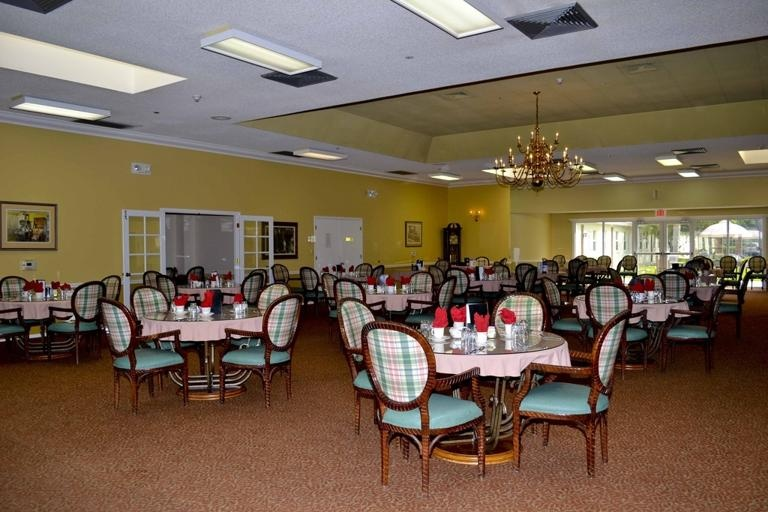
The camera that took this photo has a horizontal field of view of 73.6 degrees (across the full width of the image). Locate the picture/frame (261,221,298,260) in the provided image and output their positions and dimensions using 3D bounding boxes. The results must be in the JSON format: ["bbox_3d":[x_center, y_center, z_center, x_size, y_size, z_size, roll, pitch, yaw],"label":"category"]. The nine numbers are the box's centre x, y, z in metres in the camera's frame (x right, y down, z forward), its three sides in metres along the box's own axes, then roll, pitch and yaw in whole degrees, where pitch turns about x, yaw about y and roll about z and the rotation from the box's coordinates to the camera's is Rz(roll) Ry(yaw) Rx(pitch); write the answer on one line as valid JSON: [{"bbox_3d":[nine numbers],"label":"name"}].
[{"bbox_3d":[-2.606,-0.392,12.645,0.063,0.880,0.982,4,6,44],"label":"picture/frame"}]

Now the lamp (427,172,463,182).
[{"bbox_3d":[1.928,-2.405,15.775,0.781,0.186,3.056,1,7,9],"label":"lamp"}]

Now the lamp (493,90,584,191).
[{"bbox_3d":[3.112,-2.313,10.316,1.821,2.016,1.782,1,6,20],"label":"lamp"}]

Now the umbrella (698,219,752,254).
[{"bbox_3d":[11.246,-0.527,16.922,1.227,0.774,1.199,0,-5,7],"label":"umbrella"}]
